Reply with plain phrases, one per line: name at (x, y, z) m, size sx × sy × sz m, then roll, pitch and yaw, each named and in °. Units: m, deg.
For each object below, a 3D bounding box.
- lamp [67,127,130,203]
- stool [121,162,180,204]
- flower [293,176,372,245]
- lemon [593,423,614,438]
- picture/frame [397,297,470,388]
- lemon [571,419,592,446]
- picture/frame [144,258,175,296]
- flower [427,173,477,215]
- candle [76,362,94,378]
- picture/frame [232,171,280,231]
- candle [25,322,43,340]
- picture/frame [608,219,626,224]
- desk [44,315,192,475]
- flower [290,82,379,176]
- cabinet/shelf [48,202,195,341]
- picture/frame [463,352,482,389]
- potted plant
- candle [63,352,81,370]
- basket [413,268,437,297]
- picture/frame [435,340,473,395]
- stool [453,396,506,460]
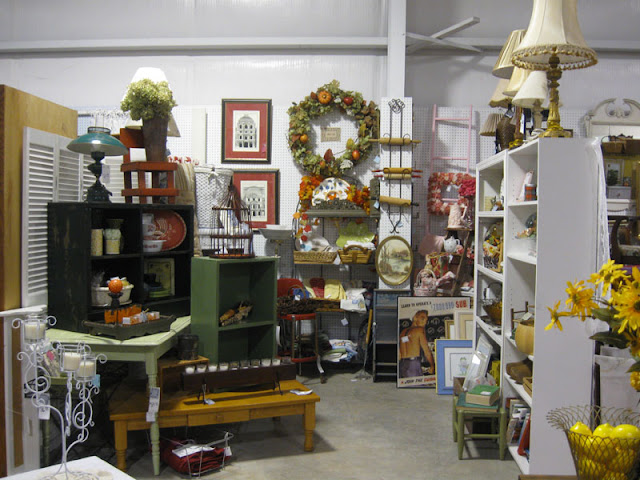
lamp at (-2.135, -0.726, 6.529) m, size 0.628 × 0.793 × 0.648 m, roll 1°, pitch 0°, yaw 3°
stool at (-1.693, -0.573, 6.677) m, size 0.469 × 0.482 × 0.475 m, roll -3°, pitch 5°, yaw -36°
flower at (0.117, -0.271, 8.497) m, size 0.842 × 0.868 × 0.211 m, roll 2°, pitch -13°, yaw 4°
lemon at (1.678, 1.124, 3.977) m, size 0.065 × 0.056 × 0.086 m, roll -9°, pitch -4°, yaw 10°
picture/frame at (1.260, 1.196, 7.593) m, size 0.895 × 1.166 × 0.074 m, roll 2°, pitch -2°, yaw -4°
lemon at (1.560, 1.158, 4.027) m, size 0.115 × 0.123 × 0.139 m, roll -13°, pitch -41°, yaw 18°
picture/frame at (-1.564, 0.354, 6.493) m, size 0.289 × 0.360 × 0.079 m, roll -1°, pitch -8°, yaw 0°
flower at (1.613, -0.552, 8.515) m, size 0.511 × 0.557 × 0.192 m, roll -1°, pitch 3°, yaw 0°
candle at (-1.593, 0.885, 4.587) m, size 0.102 × 0.082 × 0.104 m, roll -1°, pitch 8°, yaw -29°
picture/frame at (-0.766, -0.487, 8.027) m, size 0.692 × 0.914 × 0.037 m, roll 0°, pitch 6°, yaw 2°
candle at (-2.015, 0.642, 4.719) m, size 0.112 × 0.089 × 0.117 m, roll 3°, pitch 5°, yaw 14°
picture/frame at (3.232, -0.197, 7.324) m, size 0.151 × 0.039 × 0.141 m, roll -3°, pitch 9°, yaw 12°
desk at (-1.799, 1.562, 6.166) m, size 0.971 × 1.181 × 1.589 m, roll 0°, pitch 3°, yaw 0°
flower at (0.157, -1.358, 8.279) m, size 1.120 × 1.171 × 0.378 m, roll 1°, pitch 9°, yaw 0°
cabinet/shelf at (-1.851, 0.292, 6.111) m, size 0.395 × 1.132 × 1.168 m, roll 1°, pitch 3°, yaw 26°
picture/frame at (1.502, 1.287, 6.645) m, size 0.060 × 0.314 × 0.203 m, roll 20°, pitch -18°, yaw -19°
potted plant at (-1.687, -1.175, 6.631) m, size 0.518 × 0.792 × 0.412 m, roll -2°, pitch 10°, yaw -21°
candle at (-1.685, 0.815, 4.587) m, size 0.107 × 0.113 × 0.108 m, roll 1°, pitch 11°, yaw -39°
basket at (1.248, 0.513, 7.955) m, size 0.236 × 0.325 × 0.144 m, roll 2°, pitch 4°, yaw 9°
picture/frame at (1.442, 1.384, 7.242) m, size 0.547 × 0.700 × 0.056 m, roll 1°, pitch -4°, yaw 0°
stool at (1.450, 1.664, 6.159) m, size 0.449 × 0.430 × 0.480 m, roll -1°, pitch 10°, yaw 2°
